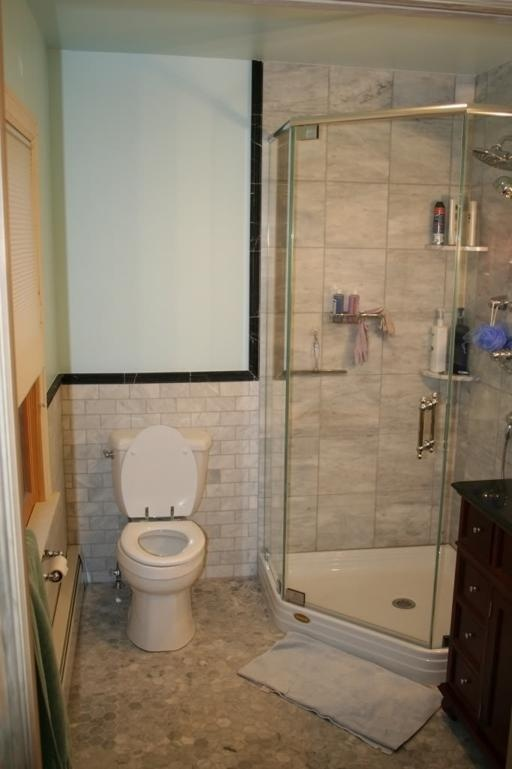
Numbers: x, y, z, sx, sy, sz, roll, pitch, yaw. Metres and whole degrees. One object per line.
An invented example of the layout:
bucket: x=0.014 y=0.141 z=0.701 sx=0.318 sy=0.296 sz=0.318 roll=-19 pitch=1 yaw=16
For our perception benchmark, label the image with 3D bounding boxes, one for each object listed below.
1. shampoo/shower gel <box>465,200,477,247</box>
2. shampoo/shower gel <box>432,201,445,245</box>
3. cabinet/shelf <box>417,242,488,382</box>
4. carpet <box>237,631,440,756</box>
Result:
shampoo/shower gel: x=0.767 y=-0.568 z=2.204 sx=0.069 sy=0.155 sz=0.036 roll=-6 pitch=10 yaw=-29
shampoo/shower gel: x=0.692 y=-0.603 z=2.329 sx=0.025 sy=0.165 sz=0.073 roll=-4 pitch=10 yaw=-22
cabinet/shelf: x=0.758 y=-0.260 z=2.348 sx=0.176 sy=0.524 sz=0.192 roll=-4 pitch=10 yaw=-22
carpet: x=0.325 y=1.155 z=2.340 sx=0.441 sy=0.054 sz=0.278 roll=8 pitch=15 yaw=39
